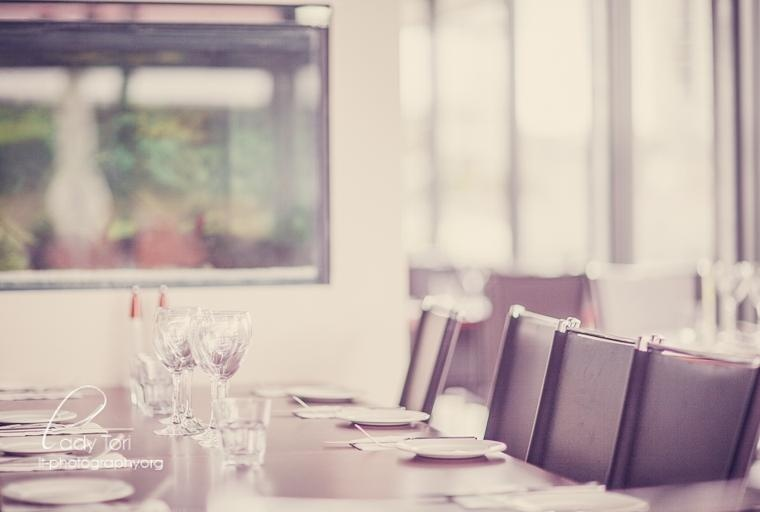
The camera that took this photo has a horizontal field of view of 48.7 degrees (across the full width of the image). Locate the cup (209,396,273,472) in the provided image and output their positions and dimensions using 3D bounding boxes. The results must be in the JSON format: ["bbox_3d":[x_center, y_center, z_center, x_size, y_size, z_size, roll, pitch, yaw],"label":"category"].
[{"bbox_3d":[-0.326,0.411,1.983,0.159,0.164,0.154,-1,-4,0],"label":"cup"}]
